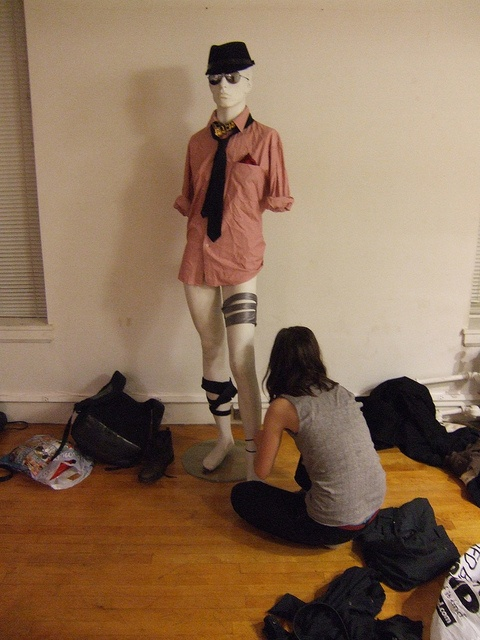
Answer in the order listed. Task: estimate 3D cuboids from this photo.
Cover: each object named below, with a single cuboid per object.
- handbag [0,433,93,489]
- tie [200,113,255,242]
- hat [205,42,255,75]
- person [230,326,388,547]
[{"bbox_3d":[-0.829,0.605,2.648,0.328,0.082,0.195,9,28,26],"label":"handbag"},{"bbox_3d":[-0.085,-0.537,2.389,0.121,0.448,0.208,5,22,-2],"label":"tie"},{"bbox_3d":[-0.040,-0.956,2.269,0.158,0.068,0.122,-1,24,20],"label":"hat"},{"bbox_3d":[0.283,0.420,2.246,0.602,0.689,0.472,2,11,40],"label":"person"}]
